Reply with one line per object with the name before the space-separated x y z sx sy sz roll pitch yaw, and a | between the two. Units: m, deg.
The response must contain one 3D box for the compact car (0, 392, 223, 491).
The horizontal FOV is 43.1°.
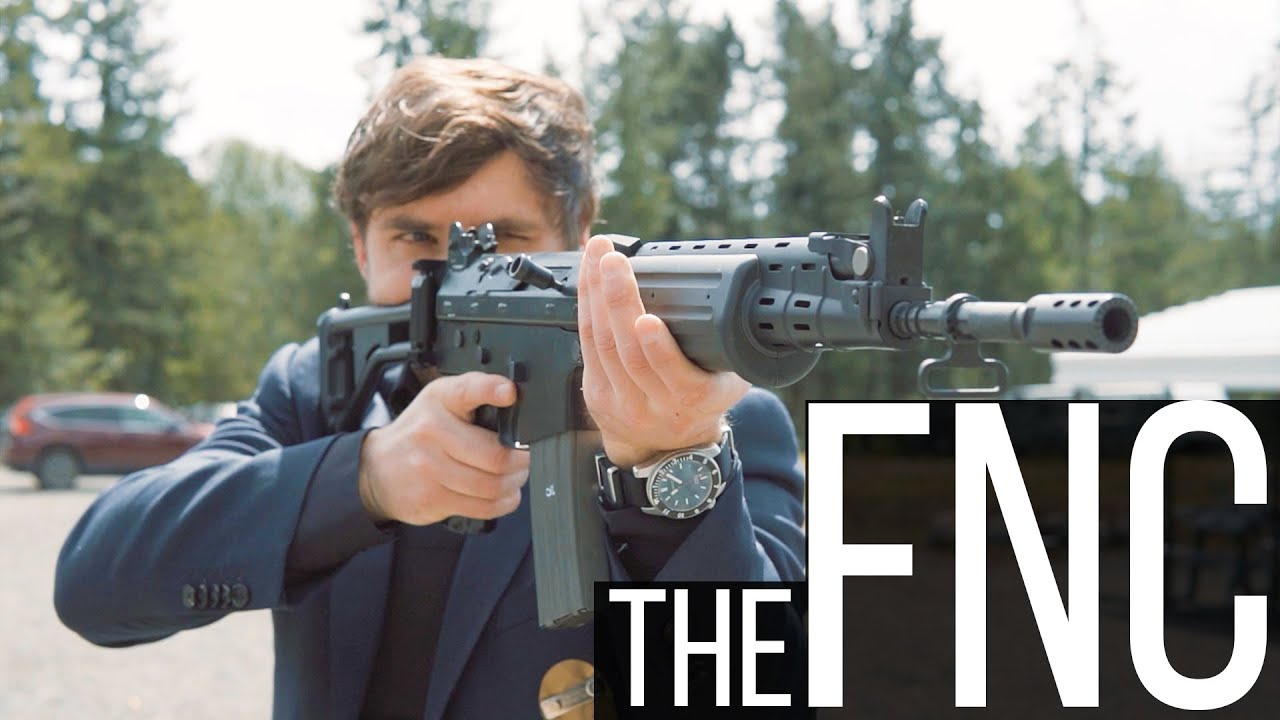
compact car | -6.428 0.917 19.469 2.259 0.802 1.042 -3 9 -26
